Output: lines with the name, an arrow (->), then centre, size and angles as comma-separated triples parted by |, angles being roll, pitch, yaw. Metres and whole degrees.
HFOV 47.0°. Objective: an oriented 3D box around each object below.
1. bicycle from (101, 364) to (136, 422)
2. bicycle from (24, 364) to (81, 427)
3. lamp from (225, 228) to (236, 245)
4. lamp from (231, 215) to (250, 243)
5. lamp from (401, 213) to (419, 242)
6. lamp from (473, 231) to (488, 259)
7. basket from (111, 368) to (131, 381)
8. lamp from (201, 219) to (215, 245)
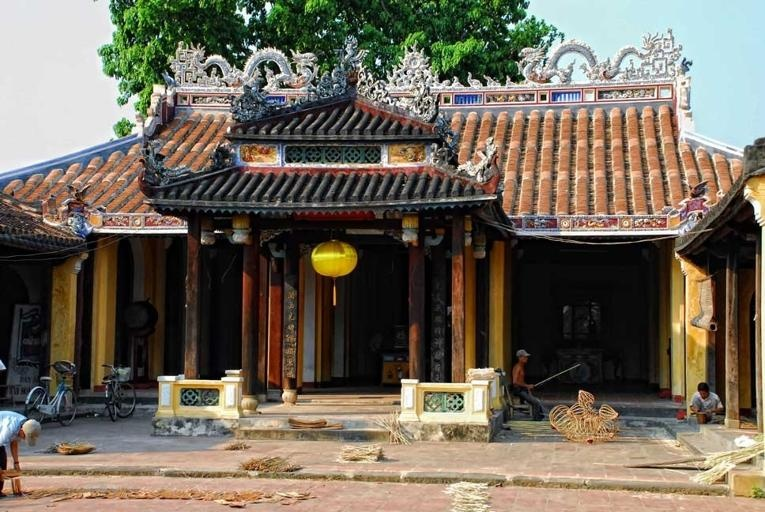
bicycle -> -5.762, 2.999, 19.085 | 0.504, 0.981, 1.400 | 1, -4, -12
bicycle -> -6.982, 2.866, 18.520 | 0.986, 1.368, 2.049 | 5, -12, -18
lamp -> -3.052, -0.395, 17.460 | 0.339, 0.298, 0.081 | 0, 4, 38
lamp -> -2.770, -0.524, 17.053 | 0.359, 0.506, 0.302 | 3, -12, -8
lamp -> 0.517, -0.515, 16.862 | 0.323, 0.540, 0.248 | 1, -12, 1
lamp -> 2.034, -0.220, 18.673 | 0.238, 0.524, 0.656 | 0, -12, 6
basket -> -5.695, 2.582, 19.122 | 0.333, 0.203, 0.315 | 2, -9, -18
lamp -> -3.486, -0.470, 17.345 | 0.248, 0.476, 0.448 | 3, -12, -8
